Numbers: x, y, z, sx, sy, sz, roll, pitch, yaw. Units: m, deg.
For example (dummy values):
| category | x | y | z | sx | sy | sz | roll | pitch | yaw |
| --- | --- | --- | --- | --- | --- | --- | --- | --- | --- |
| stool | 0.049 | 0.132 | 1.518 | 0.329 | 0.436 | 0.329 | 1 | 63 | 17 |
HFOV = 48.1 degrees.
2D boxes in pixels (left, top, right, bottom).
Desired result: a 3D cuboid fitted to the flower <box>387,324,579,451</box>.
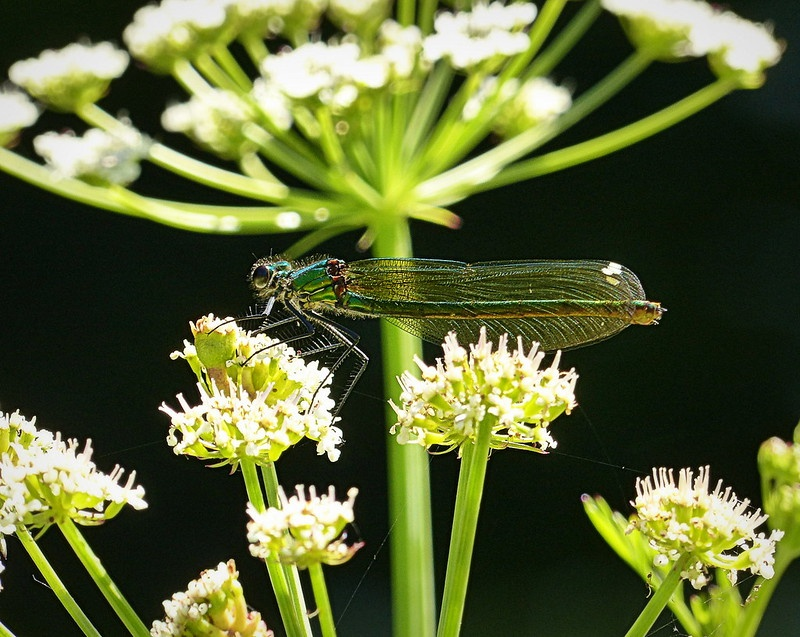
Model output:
| category | x | y | z | sx | sy | sz | roll | pitch | yaw |
| --- | --- | --- | --- | --- | --- | --- | --- | --- | --- |
| flower | 0.183 | 0.159 | 1.839 | 0.348 | 0.235 | 0.298 | -32 | -40 | 28 |

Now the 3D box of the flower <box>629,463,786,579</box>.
| category | x | y | z | sx | sy | sz | roll | pitch | yaw |
| --- | --- | --- | --- | --- | --- | --- | --- | --- | --- |
| flower | 0.629 | 0.421 | 1.909 | 0.273 | 0.239 | 0.285 | 11 | -1 | -9 |

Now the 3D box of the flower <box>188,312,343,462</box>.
| category | x | y | z | sx | sy | sz | roll | pitch | yaw |
| --- | --- | --- | --- | --- | --- | --- | --- | --- | --- |
| flower | -0.294 | 0.109 | 1.932 | 0.299 | 0.393 | 0.218 | -6 | 15 | -38 |
